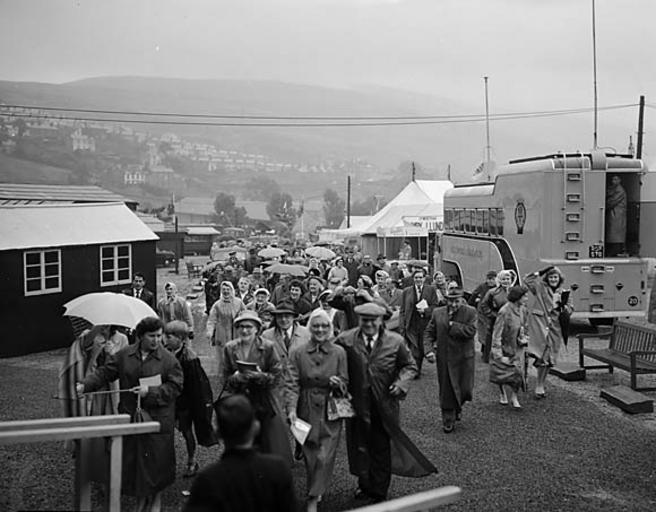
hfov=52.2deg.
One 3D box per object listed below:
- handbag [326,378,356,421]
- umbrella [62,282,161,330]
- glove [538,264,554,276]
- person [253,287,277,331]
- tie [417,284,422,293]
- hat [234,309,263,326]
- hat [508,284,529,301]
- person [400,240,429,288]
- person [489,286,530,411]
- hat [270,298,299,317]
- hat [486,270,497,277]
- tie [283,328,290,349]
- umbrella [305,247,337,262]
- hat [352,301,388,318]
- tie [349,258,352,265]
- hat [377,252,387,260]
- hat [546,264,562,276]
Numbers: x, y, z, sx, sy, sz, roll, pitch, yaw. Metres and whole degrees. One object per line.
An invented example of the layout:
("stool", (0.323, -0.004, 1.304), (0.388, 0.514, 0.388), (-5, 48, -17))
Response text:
("handbag", (0.136, 1.679, 7.786), (0.409, 0.529, 0.168), (-1, -16, -28))
("umbrella", (-3.784, 0.843, 11.441), (0.999, 0.560, 1.095), (11, 9, -12))
("glove", (4.488, 0.264, 13.812), (0.123, 0.136, 0.450), (-29, 5, -38))
("person", (-1.081, 0.893, 11.401), (0.359, 0.861, 0.256), (-3, -19, -1))
("tie", (1.777, 0.627, 13.023), (0.074, 0.098, 0.048), (0, 2, 8))
("hat", (-0.911, 0.722, 7.961), (0.197, 0.140, 0.237), (1, -3, 11))
("hat", (3.157, 0.613, 11.195), (0.287, 0.230, 0.207), (-44, 26, -17))
("person", (3.097, 0.156, 24.138), (1.066, 2.415, 1.284), (0, 1, -13))
("person", (2.999, 1.508, 11.130), (0.623, 2.004, 0.373), (0, 2, 0))
("hat", (-0.611, 0.747, 9.725), (0.473, 0.275, 0.703), (1, 0, 1))
("hat", (3.594, 0.394, 14.859), (0.248, 0.099, 0.279), (-1, -1, 1))
("tie", (-0.572, 1.128, 9.099), (0.127, 0.269, 0.058), (0, -17, -7))
("umbrella", (-0.284, -0.131, 22.688), (0.588, 0.271, 0.628), (10, 9, 31))
("hat", (0.505, 0.643, 7.959), (0.355, 0.188, 0.349), (-1, 3, 2))
("tie", (0.803, 0.194, 24.268), (0.113, 0.198, 0.043), (4, 1, 4))
("hat", (1.813, -0.049, 23.061), (0.294, 0.162, 0.377), (-4, -10, 2))
("hat", (4.387, 0.259, 13.081), (0.208, 0.167, 0.326), (0, 3, 7))
